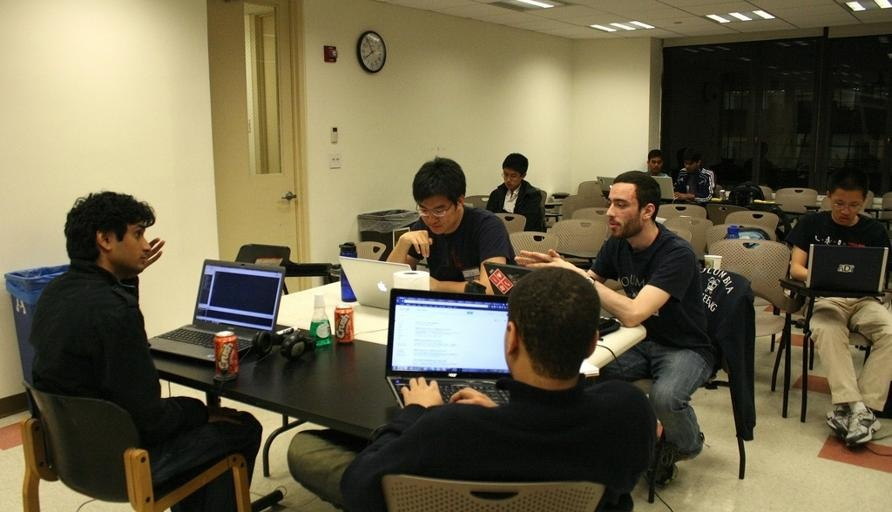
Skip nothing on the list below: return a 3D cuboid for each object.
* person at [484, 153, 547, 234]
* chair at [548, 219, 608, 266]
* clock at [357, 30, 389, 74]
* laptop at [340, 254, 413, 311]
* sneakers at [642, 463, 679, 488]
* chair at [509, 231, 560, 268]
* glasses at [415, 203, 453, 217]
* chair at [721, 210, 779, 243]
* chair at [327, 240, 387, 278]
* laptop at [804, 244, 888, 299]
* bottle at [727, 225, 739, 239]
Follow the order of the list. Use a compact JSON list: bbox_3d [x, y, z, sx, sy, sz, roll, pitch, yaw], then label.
[{"bbox_3d":[0.838,-0.710,7.922,0.807,1.036,0.671,9,11,42],"label":"person"},{"bbox_3d":[1.371,-0.181,6.633,0.557,0.716,0.542,3,8,17],"label":"chair"},{"bbox_3d":[-0.897,-2.467,7.854,0.077,0.503,0.493,6,10,39],"label":"clock"},{"bbox_3d":[-0.491,0.140,4.551,0.476,0.320,0.391,3,7,23],"label":"laptop"},{"bbox_3d":[1.500,1.536,4.539,0.234,0.166,0.073,-16,21,3],"label":"sneakers"},{"bbox_3d":[0.799,-0.069,6.029,0.363,0.523,0.388,2,0,13],"label":"chair"},{"bbox_3d":[-0.112,-0.325,4.663,0.261,0.082,0.113,3,8,25],"label":"glasses"},{"bbox_3d":[3.194,-0.353,6.737,0.443,0.580,0.443,2,3,23],"label":"chair"},{"bbox_3d":[-0.753,0.002,5.455,0.345,0.439,0.316,3,4,-6],"label":"chair"},{"bbox_3d":[3.127,0.021,5.067,0.593,0.372,0.417,1,5,6],"label":"laptop"},{"bbox_3d":[2.610,-0.217,5.885,0.110,0.127,0.132,-1,2,2],"label":"bottle"}]
